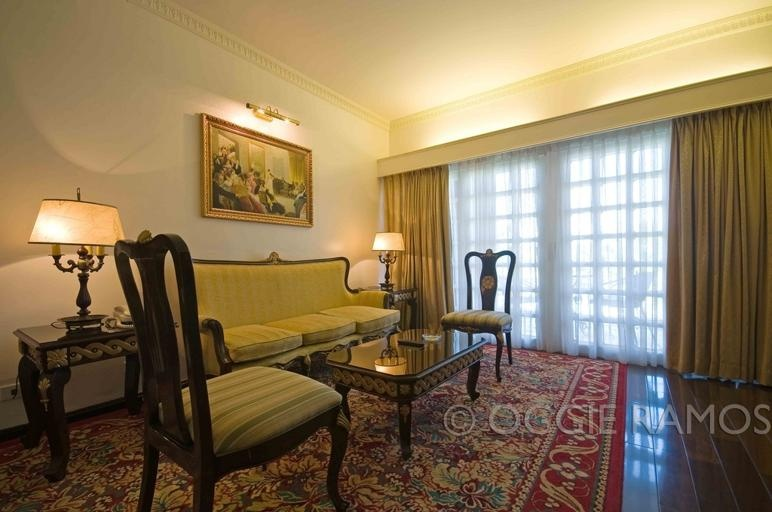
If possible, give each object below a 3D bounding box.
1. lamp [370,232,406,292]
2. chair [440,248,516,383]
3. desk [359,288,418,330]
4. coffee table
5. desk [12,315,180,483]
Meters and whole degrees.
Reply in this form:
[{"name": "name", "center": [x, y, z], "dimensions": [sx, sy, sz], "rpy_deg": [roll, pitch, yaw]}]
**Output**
[{"name": "lamp", "center": [0.031, 0.088, 6.467], "dimensions": [0.452, 0.671, 0.449], "rpy_deg": [14, -22, -33]}, {"name": "chair", "center": [1.022, 0.621, 5.556], "dimensions": [0.883, 1.270, 0.848], "rpy_deg": [-1, 5, 10]}, {"name": "desk", "center": [0.148, 0.644, 6.542], "dimensions": [0.732, 0.671, 0.586], "rpy_deg": [-8, -12, 41]}, {"name": "coffee table", "center": [0.235, 1.188, 4.592], "dimensions": [1.008, 0.648, 1.460], "rpy_deg": [1, 7, 34]}, {"name": "desk", "center": [-2.593, 1.119, 4.309], "dimensions": [0.766, 0.986, 0.968], "rpy_deg": [3, 9, 41]}]
